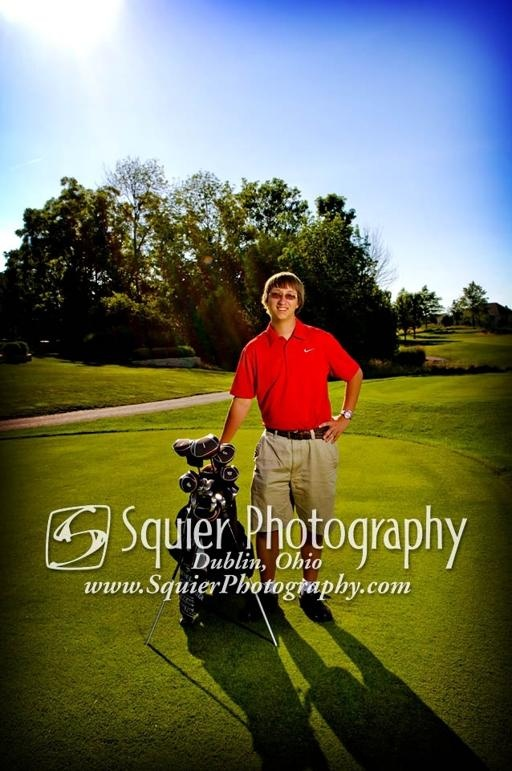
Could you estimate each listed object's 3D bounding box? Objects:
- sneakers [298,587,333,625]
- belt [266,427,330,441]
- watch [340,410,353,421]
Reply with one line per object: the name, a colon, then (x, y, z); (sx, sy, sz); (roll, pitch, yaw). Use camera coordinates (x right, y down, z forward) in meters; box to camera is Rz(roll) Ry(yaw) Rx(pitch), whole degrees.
sneakers: (0.350, 1.278, 2.919); (0.142, 0.114, 0.273); (3, 4, -11)
belt: (0.243, 0.277, 2.956); (0.350, 0.088, 0.066); (4, 4, 1)
watch: (0.546, 0.183, 3.063); (0.055, 0.088, 0.079); (7, -4, -22)
